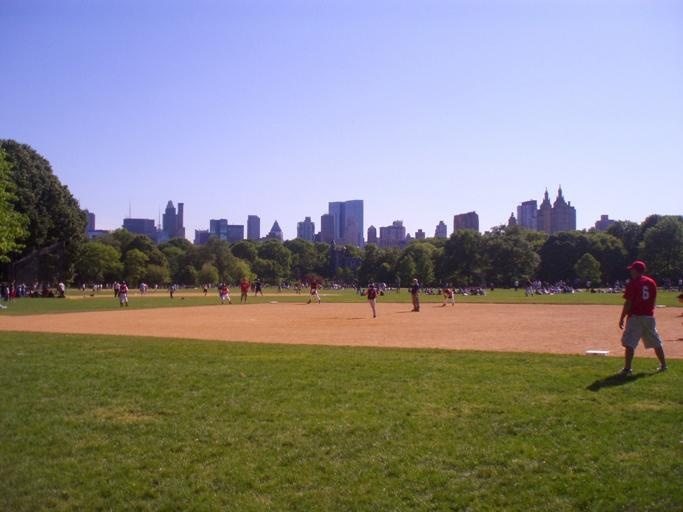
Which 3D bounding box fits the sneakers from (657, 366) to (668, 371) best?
[{"bbox_3d":[8.485,2.993,18.814,0.301,0.136,0.106,-12,0,10],"label":"sneakers"}]
